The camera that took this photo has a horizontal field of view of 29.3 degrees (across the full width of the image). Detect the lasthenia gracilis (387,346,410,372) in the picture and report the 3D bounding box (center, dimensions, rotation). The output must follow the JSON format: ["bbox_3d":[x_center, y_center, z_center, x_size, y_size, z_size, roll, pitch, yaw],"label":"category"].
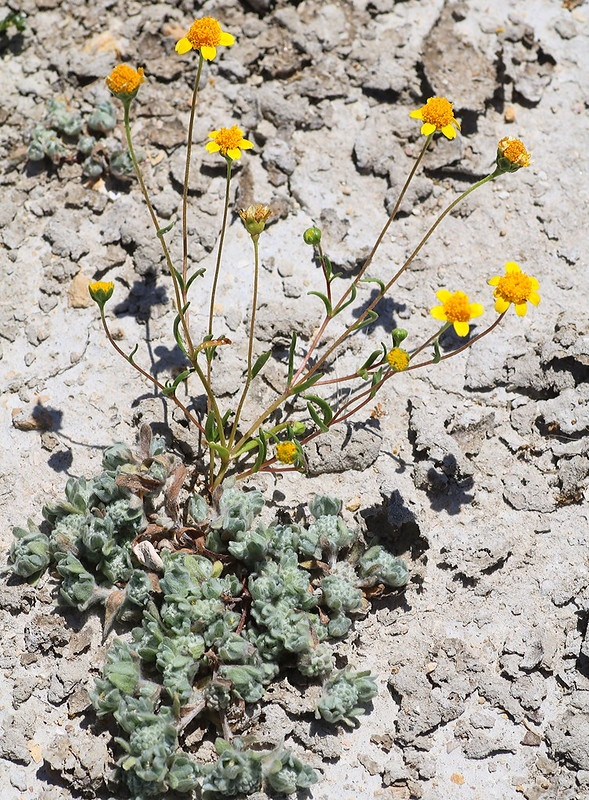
[{"bbox_3d":[0.502,-0.203,5.568,0.112,0.119,0.041,-1,0,-6],"label":"lasthenia gracilis"}]

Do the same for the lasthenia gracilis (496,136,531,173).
[{"bbox_3d":[1.035,-1.169,5.396,0.139,0.172,0.249,9,8,8],"label":"lasthenia gracilis"}]

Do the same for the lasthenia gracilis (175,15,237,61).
[{"bbox_3d":[-0.449,-1.722,5.349,0.242,0.223,0.277,5,8,-24],"label":"lasthenia gracilis"}]

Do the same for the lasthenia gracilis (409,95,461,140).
[{"bbox_3d":[0.677,-1.370,5.457,0.230,0.196,0.242,6,8,-16],"label":"lasthenia gracilis"}]

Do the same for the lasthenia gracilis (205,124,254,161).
[{"bbox_3d":[-0.316,-1.231,5.393,0.209,0.167,0.188,9,8,5],"label":"lasthenia gracilis"}]

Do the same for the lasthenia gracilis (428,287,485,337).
[{"bbox_3d":[0.764,-0.414,5.400,0.254,0.263,0.099,20,2,8],"label":"lasthenia gracilis"}]

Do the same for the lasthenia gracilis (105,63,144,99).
[{"bbox_3d":[-0.792,-1.493,5.287,0.175,0.161,0.139,4,9,-29],"label":"lasthenia gracilis"}]

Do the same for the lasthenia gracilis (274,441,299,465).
[{"bbox_3d":[-0.043,0.251,5.322,0.107,0.118,0.108,9,8,7],"label":"lasthenia gracilis"}]

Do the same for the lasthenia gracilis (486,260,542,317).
[{"bbox_3d":[1.028,-0.526,5.332,0.226,0.234,0.184,7,8,-7],"label":"lasthenia gracilis"}]
